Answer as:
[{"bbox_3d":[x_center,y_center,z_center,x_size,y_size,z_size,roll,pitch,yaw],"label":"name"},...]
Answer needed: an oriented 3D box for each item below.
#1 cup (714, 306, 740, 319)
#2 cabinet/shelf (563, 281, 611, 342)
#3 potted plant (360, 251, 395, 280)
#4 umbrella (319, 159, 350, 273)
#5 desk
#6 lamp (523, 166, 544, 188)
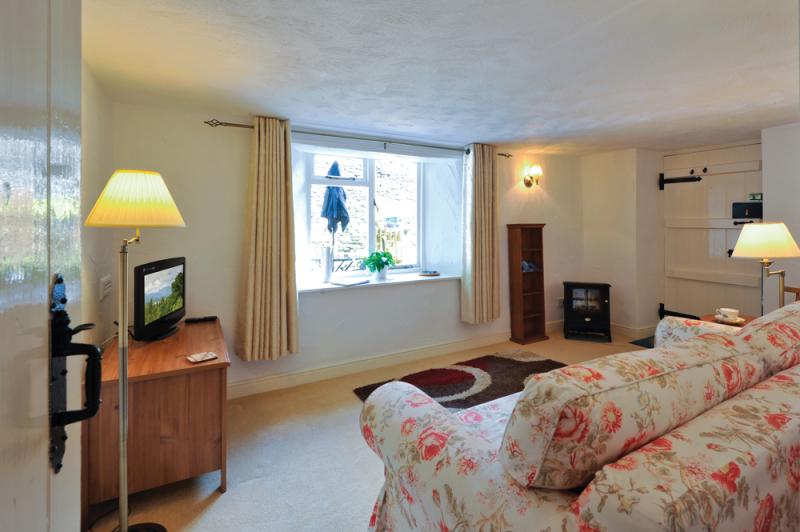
[{"bbox_3d":[2.828,0.399,4.735,0.176,0.080,0.144,-2,2,17],"label":"cup"},{"bbox_3d":[2.215,0.484,6.446,0.559,0.671,0.418,0,7,28],"label":"cabinet/shelf"},{"bbox_3d":[-0.227,0.003,5.703,0.306,0.253,0.306,-1,0,15],"label":"potted plant"},{"bbox_3d":[-0.639,-0.562,5.576,0.331,1.006,0.121,-6,7,-33],"label":"umbrella"},{"bbox_3d":[-1.575,0.599,3.558,0.792,0.706,1.443,-3,7,-26],"label":"desk"},{"bbox_3d":[1.592,-1.036,6.359,0.323,0.260,0.181,-7,7,-39],"label":"lamp"}]
